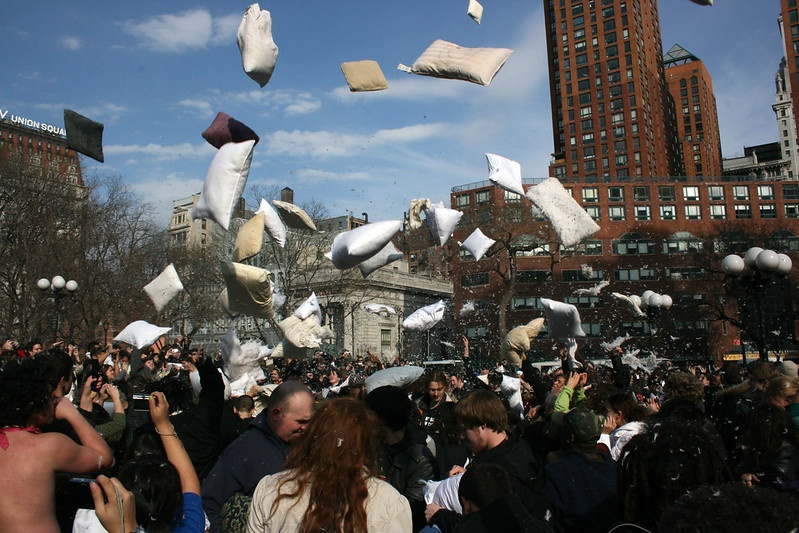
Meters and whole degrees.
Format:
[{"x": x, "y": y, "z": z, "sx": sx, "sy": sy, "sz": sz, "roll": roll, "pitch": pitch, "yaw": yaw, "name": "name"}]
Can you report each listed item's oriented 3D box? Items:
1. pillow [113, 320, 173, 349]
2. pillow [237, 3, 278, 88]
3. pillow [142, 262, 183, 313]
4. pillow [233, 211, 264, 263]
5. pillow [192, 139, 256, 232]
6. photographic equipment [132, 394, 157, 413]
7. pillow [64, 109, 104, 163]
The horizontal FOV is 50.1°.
[{"x": -5.318, "y": 1.398, "z": 17.471, "sx": 0.671, "sy": 0.293, "sz": 0.740, "roll": -6, "pitch": 18, "yaw": 31, "name": "pillow"}, {"x": -2.398, "y": -3.730, "z": 14.510, "sx": 0.636, "sy": 1.401, "sz": 0.436, "roll": 1, "pitch": -3, "yaw": -21, "name": "pillow"}, {"x": -4.765, "y": 0.444, "z": 17.214, "sx": 0.633, "sy": 0.912, "sz": 0.747, "roll": 1, "pitch": -3, "yaw": -21, "name": "pillow"}, {"x": -2.721, "y": -0.476, "z": 14.870, "sx": 0.211, "sy": 0.773, "sz": 0.716, "roll": 26, "pitch": -53, "yaw": -34, "name": "pillow"}, {"x": -3.000, "y": -1.373, "z": 14.808, "sx": 0.762, "sy": 1.568, "sz": 0.816, "roll": 2, "pitch": -3, "yaw": -33, "name": "pillow"}, {"x": -3.937, "y": 2.119, "z": 13.212, "sx": 0.336, "sy": 0.196, "sz": 0.480, "roll": 8, "pitch": -34, "yaw": -14, "name": "photographic equipment"}, {"x": -5.292, "y": -2.168, "z": 14.320, "sx": 0.600, "sy": 0.897, "sz": 1.184, "roll": 1, "pitch": -3, "yaw": -22, "name": "pillow"}]
